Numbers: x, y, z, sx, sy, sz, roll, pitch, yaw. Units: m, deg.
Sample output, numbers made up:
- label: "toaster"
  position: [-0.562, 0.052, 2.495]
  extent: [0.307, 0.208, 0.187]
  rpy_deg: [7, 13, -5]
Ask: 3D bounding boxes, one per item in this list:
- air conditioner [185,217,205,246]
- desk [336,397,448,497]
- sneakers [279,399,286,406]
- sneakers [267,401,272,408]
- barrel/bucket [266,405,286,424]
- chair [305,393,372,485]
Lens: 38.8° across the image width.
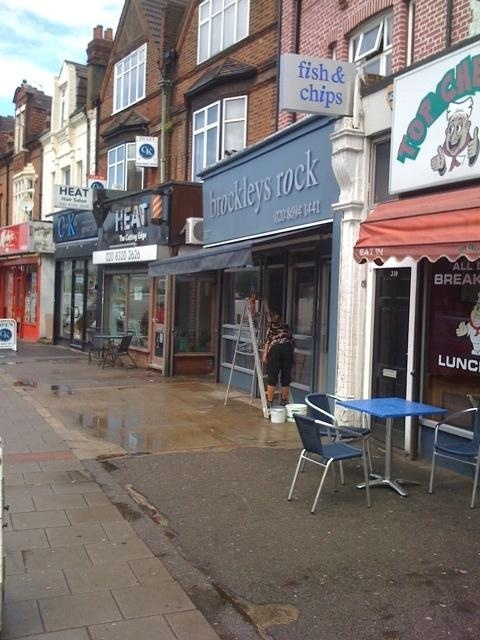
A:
- label: "air conditioner"
  position: [-0.948, -1.888, 14.516]
  extent: [0.184, 0.580, 0.585]
  rpy_deg: [-5, -8, 36]
- label: "desk"
  position: [1.457, 1.111, 6.723]
  extent: [0.881, 0.896, 0.902]
  rpy_deg: [-1, 8, -25]
- label: "sneakers"
  position: [0.669, 1.279, 10.602]
  extent: [0.083, 0.090, 0.158]
  rpy_deg: [-9, -30, 2]
- label: "sneakers"
  position: [0.453, 1.291, 10.394]
  extent: [0.077, 0.120, 0.078]
  rpy_deg: [5, -6, -29]
- label: "barrel/bucket"
  position: [0.537, 1.388, 9.899]
  extent: [0.207, 0.172, 0.216]
  rpy_deg: [2, -4, 0]
- label: "chair"
  position: [0.799, 1.243, 6.113]
  extent: [0.556, 0.821, 0.540]
  rpy_deg: [-3, 5, -27]
